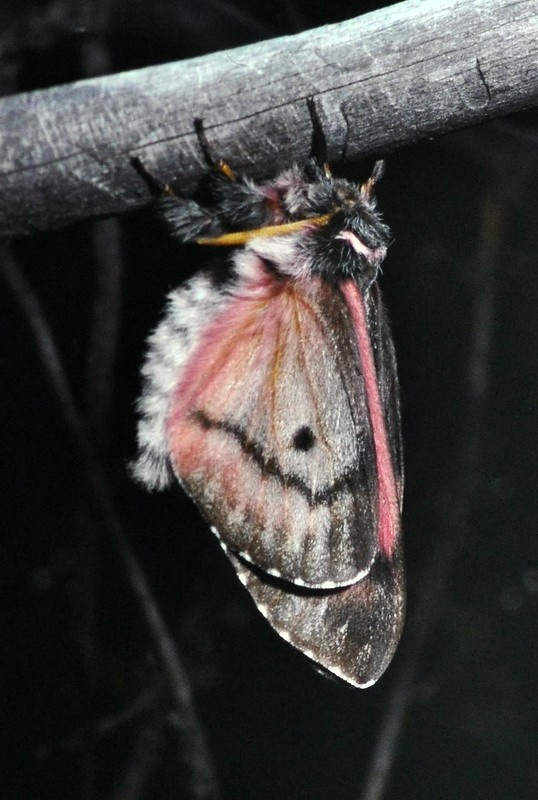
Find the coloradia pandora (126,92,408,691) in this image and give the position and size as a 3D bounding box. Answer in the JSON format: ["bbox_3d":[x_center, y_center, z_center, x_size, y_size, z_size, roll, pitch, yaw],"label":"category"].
[{"bbox_3d":[-0.010,0.006,1.127,0.384,0.694,0.282,4,-10,7],"label":"coloradia pandora"}]
